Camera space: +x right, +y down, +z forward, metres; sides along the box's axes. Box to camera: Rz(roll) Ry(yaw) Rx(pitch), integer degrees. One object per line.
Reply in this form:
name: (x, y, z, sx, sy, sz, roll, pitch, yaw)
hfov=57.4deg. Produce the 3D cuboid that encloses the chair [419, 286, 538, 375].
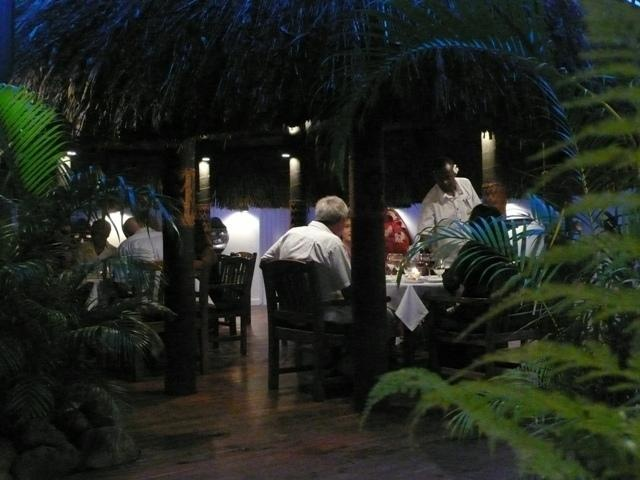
chair: (0.867, 0.526, 3.273, 0.501, 0.461, 0.819, -2, 0, -1)

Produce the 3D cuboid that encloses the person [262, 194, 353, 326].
person: (0.014, 0.179, 3.767, 0.658, 0.850, 0.460, 5, 6, 17)

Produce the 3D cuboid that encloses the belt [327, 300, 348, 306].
belt: (0.098, 0.361, 3.373, 0.133, 0.039, 0.030, -2, 0, -10)
